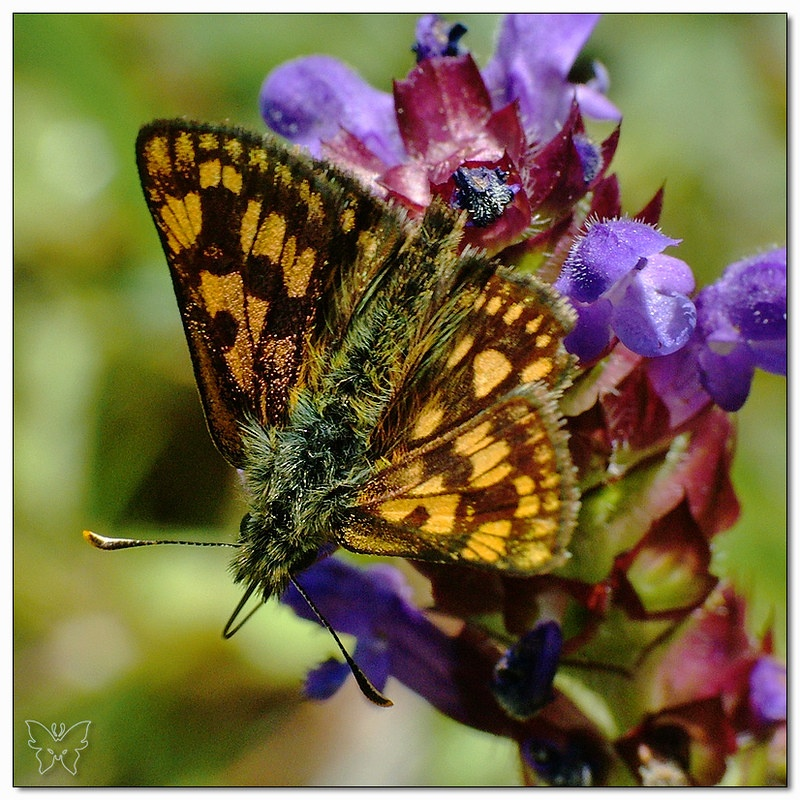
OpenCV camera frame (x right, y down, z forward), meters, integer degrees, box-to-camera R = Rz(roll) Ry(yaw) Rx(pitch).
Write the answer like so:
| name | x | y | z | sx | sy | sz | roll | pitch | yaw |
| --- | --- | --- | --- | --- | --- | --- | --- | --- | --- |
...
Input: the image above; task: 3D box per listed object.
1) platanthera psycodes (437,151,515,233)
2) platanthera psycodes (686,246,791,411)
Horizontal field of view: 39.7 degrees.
| name | x | y | z | sx | sy | sz | roll | pitch | yaw |
| --- | --- | --- | --- | --- | --- | --- | --- | --- | --- |
| platanthera psycodes | 0.102 | -0.271 | 1.456 | 0.103 | 0.095 | 0.044 | 14 | 9 | -2 |
| platanthera psycodes | 0.466 | -0.102 | 1.518 | 0.121 | 0.184 | 0.114 | 12 | 9 | -18 |
